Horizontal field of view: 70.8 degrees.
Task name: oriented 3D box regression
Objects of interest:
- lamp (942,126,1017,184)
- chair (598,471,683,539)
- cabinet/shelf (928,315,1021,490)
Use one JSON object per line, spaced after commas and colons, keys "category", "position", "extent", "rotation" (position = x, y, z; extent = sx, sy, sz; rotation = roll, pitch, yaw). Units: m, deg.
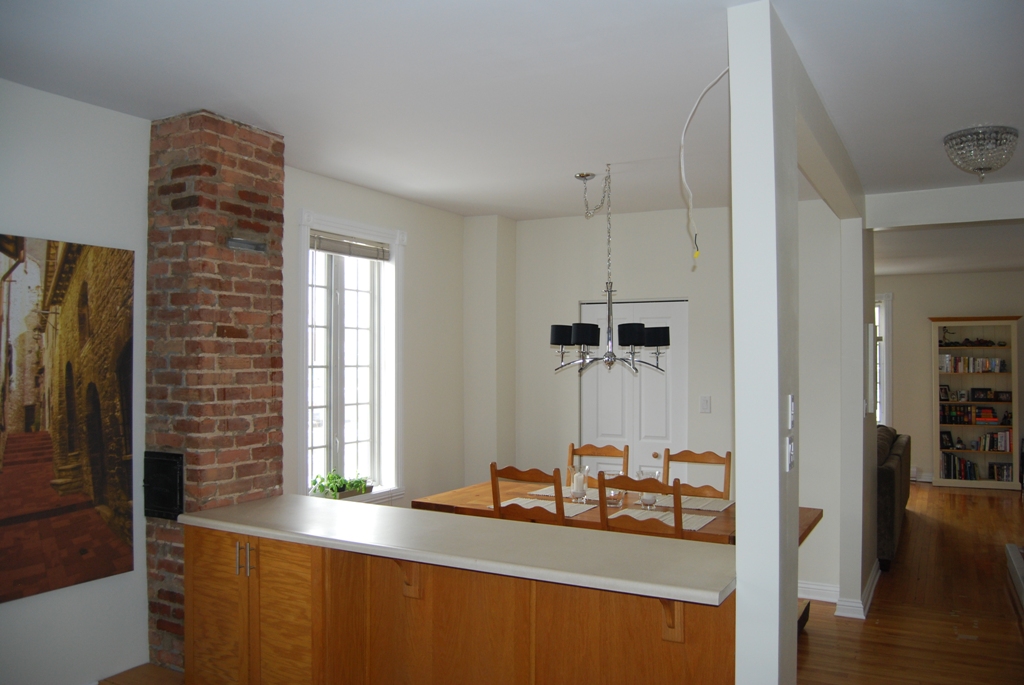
{"category": "lamp", "position": [2.631, -1.082, 4.091], "extent": [0.323, 0.211, 0.326], "rotation": [-1, -4, 0]}
{"category": "chair", "position": [0.809, 1.058, 4.631], "extent": [0.362, 0.639, 0.382], "rotation": [1, 5, 28]}
{"category": "cabinet/shelf", "position": [6.529, 0.820, 10.205], "extent": [1.102, 2.365, 0.628], "rotation": [1, 7, 29]}
